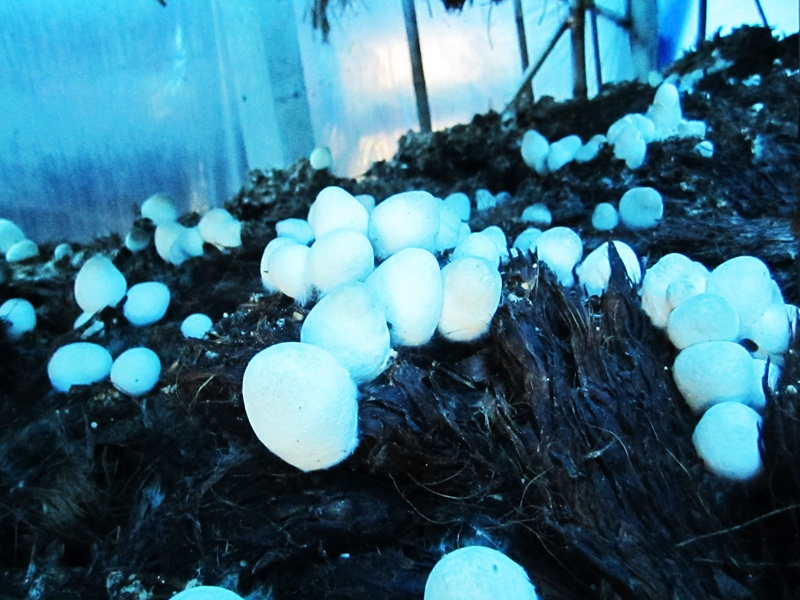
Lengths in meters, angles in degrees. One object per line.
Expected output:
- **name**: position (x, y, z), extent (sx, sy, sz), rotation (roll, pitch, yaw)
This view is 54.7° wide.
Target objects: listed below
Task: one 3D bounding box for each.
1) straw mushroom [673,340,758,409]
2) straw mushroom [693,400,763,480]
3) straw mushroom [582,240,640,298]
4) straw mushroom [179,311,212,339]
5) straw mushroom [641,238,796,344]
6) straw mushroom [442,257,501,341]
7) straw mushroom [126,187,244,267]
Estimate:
- **straw mushroom**: position (0.624, 0.153, 1.537), extent (0.109, 0.154, 0.076), rotation (15, 12, 12)
- **straw mushroom**: position (0.635, 0.258, 1.487), extent (0.105, 0.148, 0.068), rotation (9, -1, 14)
- **straw mushroom**: position (0.477, -0.073, 1.767), extent (0.147, 0.111, 0.124), rotation (-6, 17, 15)
- **straw mushroom**: position (-0.524, 0.066, 1.988), extent (0.084, 0.042, 0.088), rotation (-14, 17, -8)
- **straw mushroom**: position (0.645, -0.033, 1.583), extent (0.216, 0.200, 0.107), rotation (7, -7, 7)
- **straw mushroom**: position (0.149, 0.000, 1.644), extent (0.112, 0.171, 0.087), rotation (19, 12, 0)
- **straw mushroom**: position (-0.551, -0.182, 2.037), extent (0.263, 0.186, 0.114), rotation (18, -9, 3)
